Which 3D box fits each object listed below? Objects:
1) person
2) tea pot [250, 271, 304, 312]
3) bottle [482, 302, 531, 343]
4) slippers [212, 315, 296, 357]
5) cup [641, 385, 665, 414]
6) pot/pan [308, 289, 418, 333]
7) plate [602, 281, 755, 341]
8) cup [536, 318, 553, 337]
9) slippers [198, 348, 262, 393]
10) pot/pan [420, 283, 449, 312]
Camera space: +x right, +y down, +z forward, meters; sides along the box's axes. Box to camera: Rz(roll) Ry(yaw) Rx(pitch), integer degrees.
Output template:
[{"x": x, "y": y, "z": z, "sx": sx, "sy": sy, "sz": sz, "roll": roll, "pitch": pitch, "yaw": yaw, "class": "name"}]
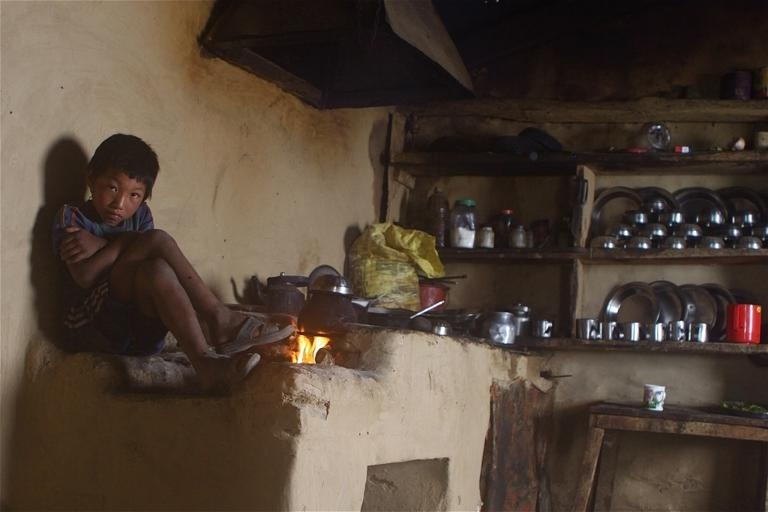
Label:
[{"x": -1.115, "y": 0.015, "z": 4.213, "sx": 0.974, "sy": 1.223, "sz": 0.313, "roll": 4, "pitch": -5, "yaw": -7, "class": "person"}, {"x": -0.609, "y": 0.196, "z": 4.767, "sx": 0.274, "sy": 0.245, "sz": 0.209, "roll": 0, "pitch": -4, "yaw": -16, "class": "tea pot"}, {"x": 0.818, "y": 0.458, "z": 5.613, "sx": 0.254, "sy": 0.197, "sz": 0.261, "roll": 1, "pitch": -10, "yaw": 0, "class": "bottle"}, {"x": -0.658, "y": 0.391, "z": 4.324, "sx": 0.406, "sy": 0.168, "sz": 0.165, "roll": -19, "pitch": 3, "yaw": -19, "class": "slippers"}, {"x": 1.748, "y": 0.927, "z": 5.496, "sx": 0.159, "sy": 0.146, "sz": 0.131, "roll": 1, "pitch": -9, "yaw": 12, "class": "cup"}, {"x": -0.142, "y": 0.329, "z": 4.735, "sx": 0.323, "sy": 0.238, "sz": 0.763, "roll": 1, "pitch": -7, "yaw": 29, "class": "pot/pan"}, {"x": 1.995, "y": 0.366, "z": 5.841, "sx": 0.962, "sy": 0.407, "sz": 0.295, "roll": 1, "pitch": -6, "yaw": 23, "class": "plate"}, {"x": 1.082, "y": 0.483, "z": 5.754, "sx": 0.105, "sy": 0.116, "sz": 0.107, "roll": 0, "pitch": -7, "yaw": 0, "class": "cup"}, {"x": -0.778, "y": 0.567, "z": 4.134, "sx": 0.311, "sy": 0.201, "sz": 0.105, "roll": 1, "pitch": -6, "yaw": 22, "class": "slippers"}, {"x": 0.339, "y": 0.264, "z": 5.628, "sx": 0.252, "sy": 0.185, "sz": 0.090, "roll": 8, "pitch": -7, "yaw": -36, "class": "pot/pan"}]
